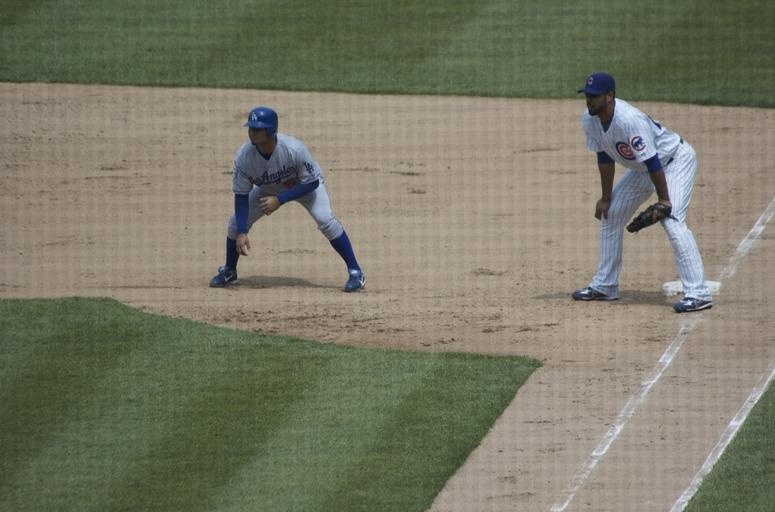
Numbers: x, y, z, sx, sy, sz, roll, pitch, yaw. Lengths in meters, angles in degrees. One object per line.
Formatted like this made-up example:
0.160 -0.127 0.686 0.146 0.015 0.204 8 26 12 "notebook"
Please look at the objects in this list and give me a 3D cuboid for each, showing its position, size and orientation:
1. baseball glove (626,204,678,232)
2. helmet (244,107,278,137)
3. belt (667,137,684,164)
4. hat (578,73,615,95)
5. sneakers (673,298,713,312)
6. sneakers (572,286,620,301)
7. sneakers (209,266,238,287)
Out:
3.373 -0.430 20.698 0.535 0.332 0.235 -13 19 -5 "baseball glove"
-1.610 -1.614 20.683 0.318 0.273 0.382 2 -1 44 "helmet"
3.732 -1.235 20.825 0.120 0.312 0.236 25 -3 7 "belt"
2.673 -2.062 20.516 0.417 0.212 0.277 0 10 -7 "hat"
3.934 0.693 20.736 0.498 0.208 0.181 0 0 -12 "sneakers"
2.732 0.579 21.175 0.617 0.239 0.212 6 9 1 "sneakers"
-2.190 0.346 21.436 0.182 0.183 0.422 23 24 39 "sneakers"
